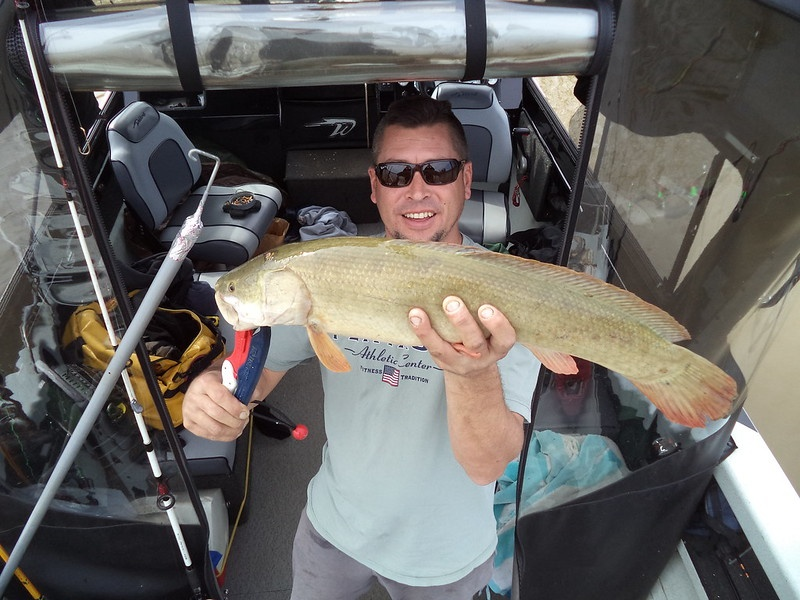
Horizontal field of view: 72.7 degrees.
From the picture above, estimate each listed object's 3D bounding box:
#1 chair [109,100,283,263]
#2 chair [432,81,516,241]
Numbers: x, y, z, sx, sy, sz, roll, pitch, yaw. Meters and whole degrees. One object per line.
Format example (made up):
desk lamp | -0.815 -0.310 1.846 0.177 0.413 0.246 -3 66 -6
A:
chair | -1.826 -1.079 4.877 1.174 1.183 1.086 10 46 3
chair | 0.598 -1.175 5.232 0.912 1.461 1.413 4 47 12
